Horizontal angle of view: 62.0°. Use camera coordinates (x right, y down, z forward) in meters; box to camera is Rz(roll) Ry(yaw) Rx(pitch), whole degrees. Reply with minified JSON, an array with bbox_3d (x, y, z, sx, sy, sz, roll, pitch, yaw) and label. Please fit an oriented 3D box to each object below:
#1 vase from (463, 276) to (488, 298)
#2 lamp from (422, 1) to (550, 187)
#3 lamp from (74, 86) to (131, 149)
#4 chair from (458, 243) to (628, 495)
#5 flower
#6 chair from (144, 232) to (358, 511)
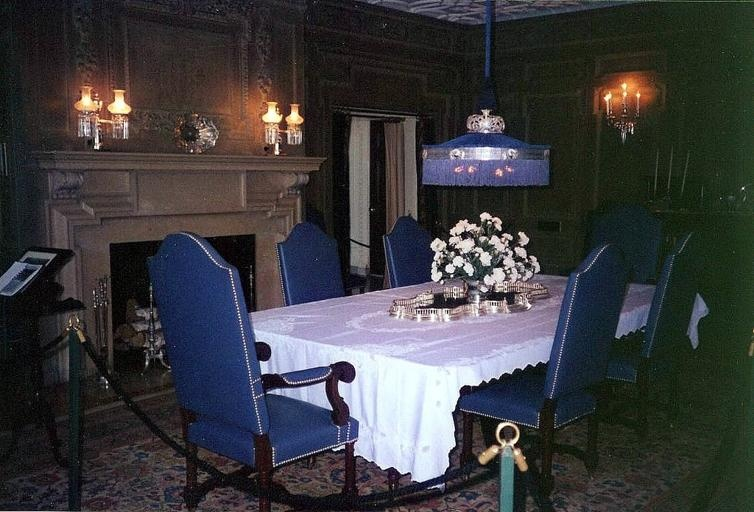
[{"bbox_3d":[0.688,0.216,4.358,0.152,0.117,0.136,1,3,14],"label":"vase"},{"bbox_3d":[0.776,-1.288,4.781,0.834,1.551,1.609,-1,10,4],"label":"lamp"},{"bbox_3d":[-2.462,-1.212,5.564,0.451,0.541,0.347,-4,11,-41],"label":"lamp"},{"bbox_3d":[1.022,0.643,3.900,0.818,1.465,0.946,-2,4,-29],"label":"chair"},{"bbox_3d":[0.747,-0.008,4.500,0.778,0.570,0.792,3,9,11],"label":"flower"},{"bbox_3d":[-0.670,0.655,3.378,1.079,1.584,0.524,-3,11,-8],"label":"chair"}]
